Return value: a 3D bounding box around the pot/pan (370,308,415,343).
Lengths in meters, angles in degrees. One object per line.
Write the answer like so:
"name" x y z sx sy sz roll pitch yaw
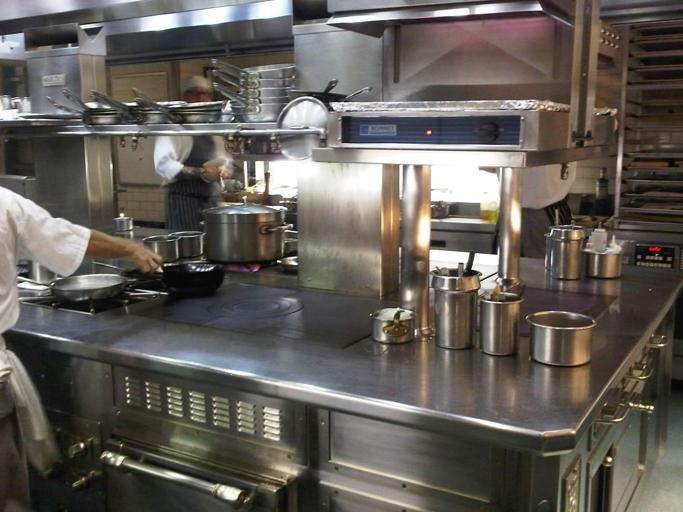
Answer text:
"pot/pan" 0.196 0.252 2.274 0.134 0.119 0.147 7 11 35

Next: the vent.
"vent" 0.688 -0.775 2.743 0.965 0.502 1.348 9 22 28

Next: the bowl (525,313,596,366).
"bowl" 0.726 0.274 2.086 0.238 0.103 0.199 -1 10 9

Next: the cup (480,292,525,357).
"cup" 0.577 0.231 2.144 0.190 0.217 0.110 -5 12 -30

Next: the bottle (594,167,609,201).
"bottle" 2.328 -0.642 5.462 0.114 0.270 0.252 5 10 22

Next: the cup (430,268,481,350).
"cup" 0.399 0.192 2.182 0.163 0.272 0.080 2 11 8

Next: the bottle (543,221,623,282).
"bottle" 1.193 -0.022 3.122 0.448 0.222 0.247 -3 9 -2

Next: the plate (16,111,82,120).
"plate" -1.521 -0.726 3.213 0.221 0.034 0.206 -4 6 -41
